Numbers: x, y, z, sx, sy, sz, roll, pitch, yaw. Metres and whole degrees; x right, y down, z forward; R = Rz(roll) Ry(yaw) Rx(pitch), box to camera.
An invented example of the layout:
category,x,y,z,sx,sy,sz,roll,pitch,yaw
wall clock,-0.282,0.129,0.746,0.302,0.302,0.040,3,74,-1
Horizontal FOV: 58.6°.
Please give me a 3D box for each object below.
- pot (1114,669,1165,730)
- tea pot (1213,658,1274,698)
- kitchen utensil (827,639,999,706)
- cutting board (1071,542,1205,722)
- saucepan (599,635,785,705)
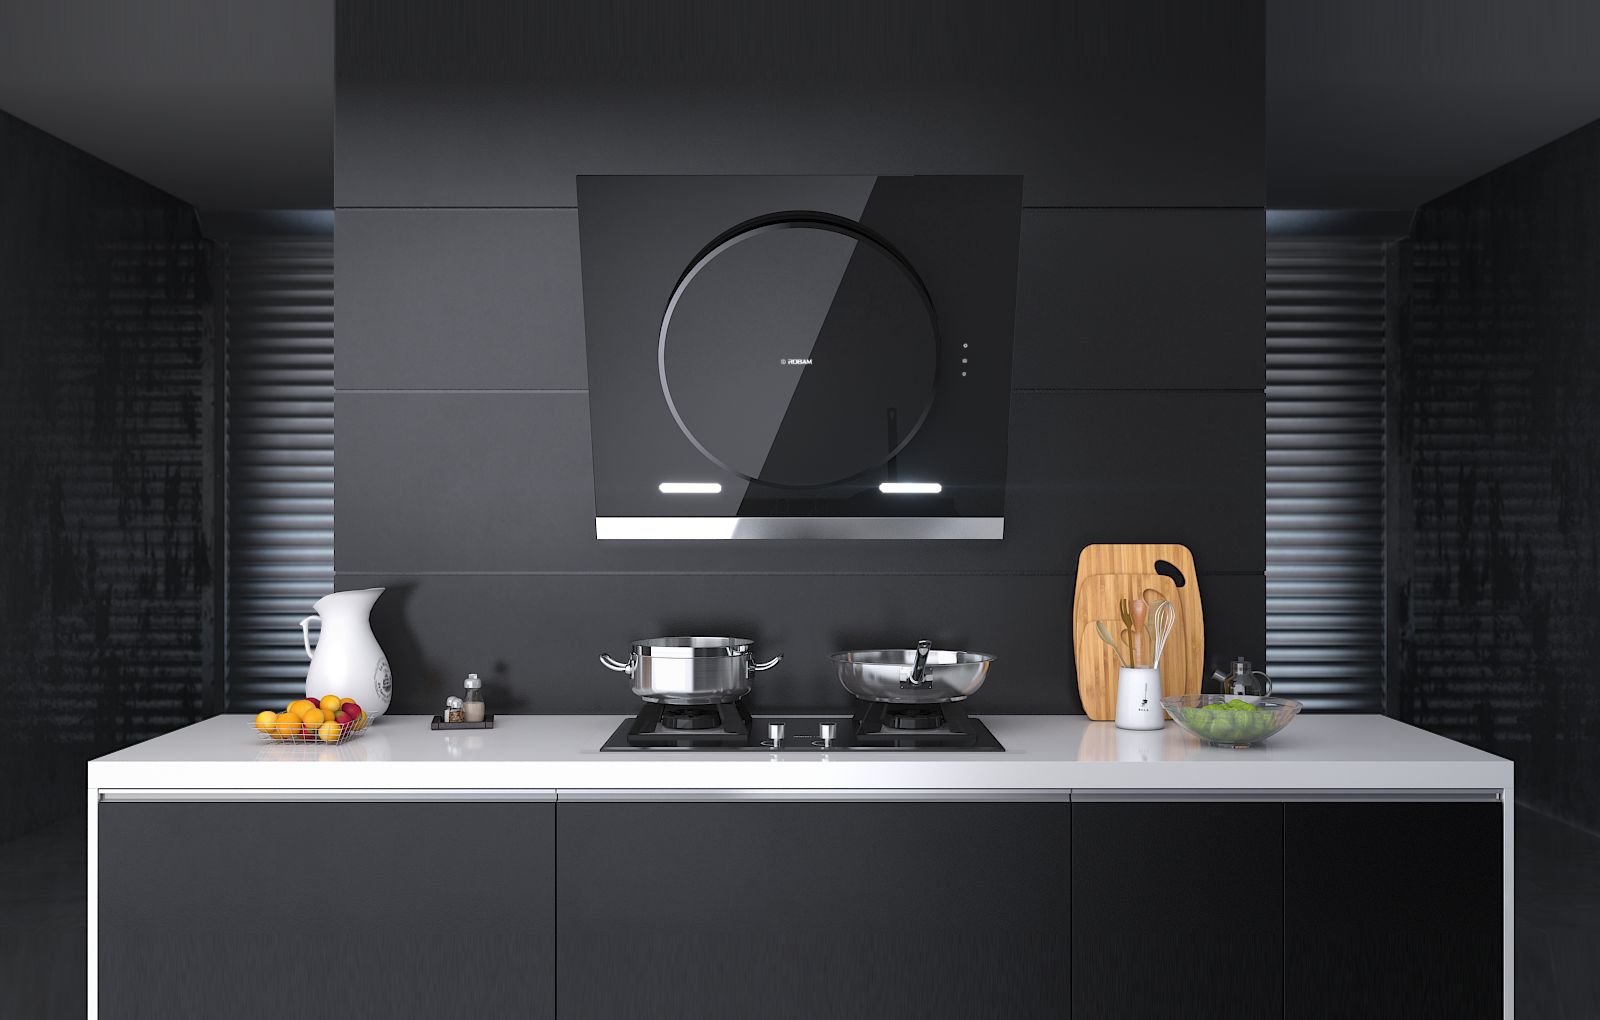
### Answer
category,x,y,z,sx,sy,sz,roll,pitch,yaw
pot,0.990,0.552,4.161,0.151,0.168,0.153,2,-2,0
tea pot,1.258,0.484,4.098,0.159,0.152,0.109,-1,-1,37
kitchen utensil,0.349,0.468,4.076,0.419,0.197,0.517,-1,1,-8
cutting board,1.003,0.372,4.204,0.519,0.689,0.040,0,-7,0
saucepan,-0.313,0.466,4.111,0.481,0.193,0.289,1,-3,-3
